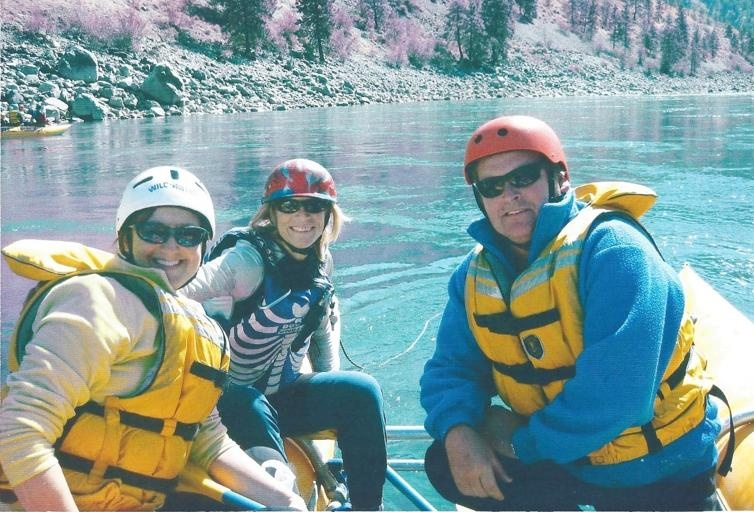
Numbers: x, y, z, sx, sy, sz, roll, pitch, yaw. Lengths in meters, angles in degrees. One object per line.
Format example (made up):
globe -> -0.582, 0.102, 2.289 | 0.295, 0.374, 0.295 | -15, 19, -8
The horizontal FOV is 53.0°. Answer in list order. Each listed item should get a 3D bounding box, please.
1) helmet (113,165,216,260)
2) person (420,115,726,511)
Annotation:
helmet -> -1.063, -0.208, 3.792 | 0.375, 0.474, 0.386 | 7, 14, -19
person -> 0.995, 0.315, 4.019 | 1.515, 2.117, 0.506 | 3, 4, 26
